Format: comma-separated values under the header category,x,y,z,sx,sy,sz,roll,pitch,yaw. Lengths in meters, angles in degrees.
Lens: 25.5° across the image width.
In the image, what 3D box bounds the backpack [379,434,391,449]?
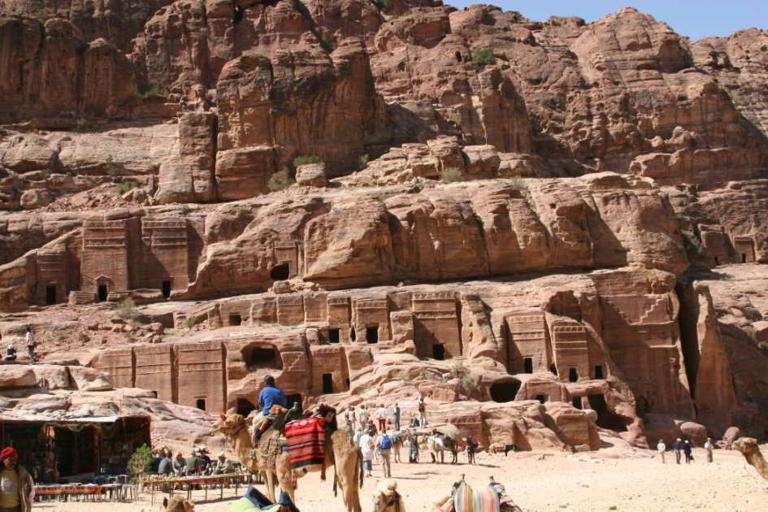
category,x,y,z,sx,sy,sz,roll,pitch,yaw
backpack,0.066,9.122,83.879,0.974,0.796,0.479,1,-5,-4

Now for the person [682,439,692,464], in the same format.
category,x,y,z,sx,sy,sz,roll,pitch,yaw
person,16.323,10.456,91.530,0.431,1.195,1.780,-10,-10,9

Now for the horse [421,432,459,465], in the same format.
category,x,y,z,sx,sy,sz,roll,pitch,yaw
horse,2.914,9.769,87.033,1.281,1.778,1.564,-1,-12,-35
